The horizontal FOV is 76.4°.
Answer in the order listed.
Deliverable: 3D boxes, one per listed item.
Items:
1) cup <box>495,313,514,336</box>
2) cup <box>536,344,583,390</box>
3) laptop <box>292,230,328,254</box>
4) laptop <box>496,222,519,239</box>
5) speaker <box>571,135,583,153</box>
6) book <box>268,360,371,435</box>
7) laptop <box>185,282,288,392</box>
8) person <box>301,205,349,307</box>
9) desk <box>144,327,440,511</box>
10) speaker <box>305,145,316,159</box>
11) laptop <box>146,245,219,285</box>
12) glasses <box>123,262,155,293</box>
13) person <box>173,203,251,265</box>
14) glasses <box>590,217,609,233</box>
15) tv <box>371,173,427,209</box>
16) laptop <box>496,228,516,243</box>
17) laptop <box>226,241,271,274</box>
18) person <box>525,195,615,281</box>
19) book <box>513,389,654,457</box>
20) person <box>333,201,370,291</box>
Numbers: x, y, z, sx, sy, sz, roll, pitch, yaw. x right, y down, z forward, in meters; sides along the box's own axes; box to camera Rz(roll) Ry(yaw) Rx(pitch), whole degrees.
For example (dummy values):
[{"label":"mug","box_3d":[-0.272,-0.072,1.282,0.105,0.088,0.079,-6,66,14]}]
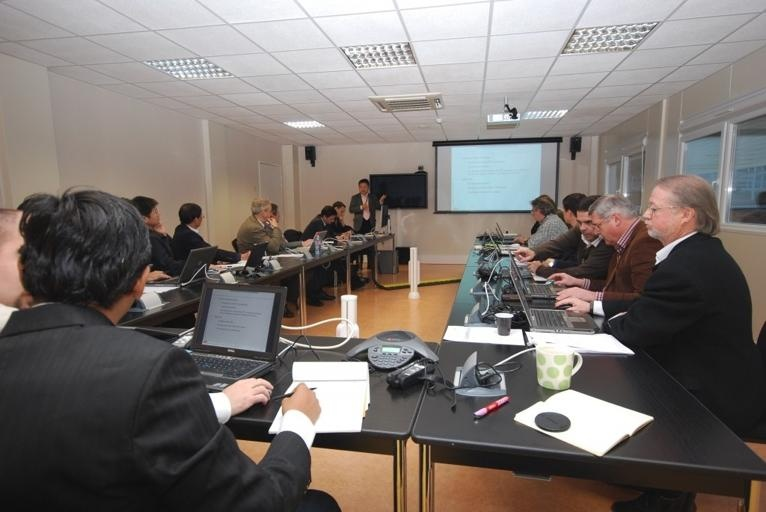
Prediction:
[{"label":"cup","box_3d":[0.598,0.349,2.470,0.101,0.089,0.099,0,2,0]},{"label":"cup","box_3d":[0.734,0.468,2.011,0.229,0.155,0.150,1,0,2]},{"label":"laptop","box_3d":[-0.851,-0.125,5.449,0.315,0.202,0.349,2,6,20]},{"label":"laptop","box_3d":[2.079,-0.419,8.110,0.406,0.285,0.390,0,1,4]},{"label":"speaker","box_3d":[3.368,-1.932,8.475,0.266,0.298,0.133,-4,8,-30]},{"label":"book","box_3d":[-0.271,0.573,2.186,0.391,0.105,0.477,-3,-34,-10]},{"label":"laptop","box_3d":[-0.630,0.348,2.274,0.471,0.402,0.325,5,0,8]},{"label":"person","box_3d":[-0.800,-0.062,6.853,0.708,1.221,0.494,3,3,14]},{"label":"desk","box_3d":[-0.139,0.633,2.045,0.797,0.395,0.604,2,9,15]},{"label":"speaker","box_3d":[-1.398,-1.985,9.361,0.203,0.265,0.143,-1,7,-9]},{"label":"laptop","box_3d":[-1.489,0.083,3.596,0.309,0.231,0.381,6,8,10]},{"label":"glasses","box_3d":[-0.791,0.073,1.585,0.072,0.083,0.026,9,2,33]},{"label":"person","box_3d":[-1.700,-0.147,4.978,0.808,0.761,0.511,-4,-7,-9]},{"label":"glasses","box_3d":[1.416,-0.192,3.193,0.086,0.105,0.055,7,-17,-37]},{"label":"tv","box_3d":[0.274,-1.197,9.144,1.121,0.654,0.094,-3,6,-14]},{"label":"laptop","box_3d":[1.836,-0.302,7.305,0.358,0.211,0.342,1,3,9]},{"label":"laptop","box_3d":[-1.203,0.019,4.265,0.308,0.265,0.412,14,7,12]},{"label":"person","box_3d":[1.659,-0.158,4.187,0.896,0.854,0.634,-1,3,-2]},{"label":"book","box_3d":[0.734,0.606,1.791,0.259,0.033,0.229,-14,16,-42]},{"label":"person","box_3d":[-0.656,-0.293,7.688,0.462,1.137,0.456,24,39,8]}]
